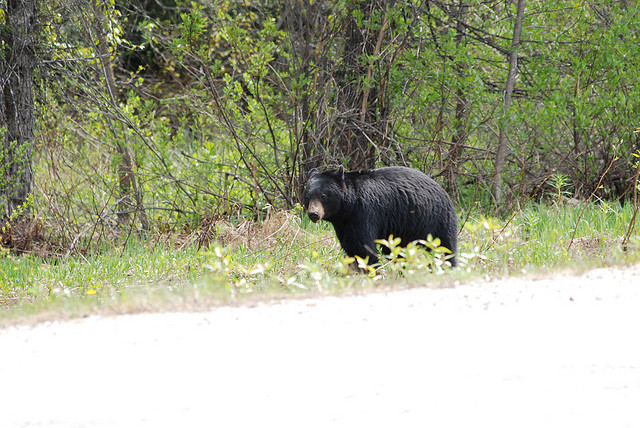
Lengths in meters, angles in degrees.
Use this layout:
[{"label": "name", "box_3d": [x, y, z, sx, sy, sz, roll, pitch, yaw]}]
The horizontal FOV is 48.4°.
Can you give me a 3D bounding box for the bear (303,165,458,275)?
[{"label": "bear", "box_3d": [0.702, 0.006, 8.100, 1.719, 1.086, 0.600, 1, 2, -14]}]
